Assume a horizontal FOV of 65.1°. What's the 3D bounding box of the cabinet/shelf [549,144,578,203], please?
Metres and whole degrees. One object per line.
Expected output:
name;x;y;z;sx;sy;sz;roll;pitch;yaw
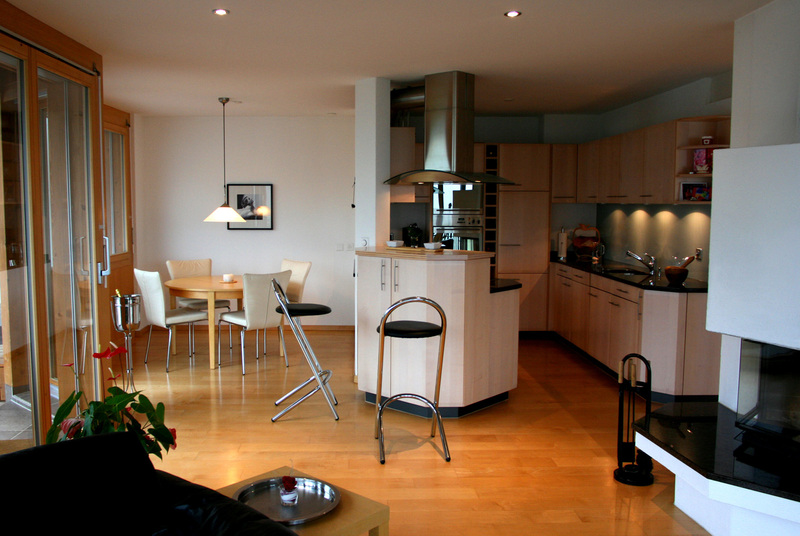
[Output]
cabinet/shelf;2.221;-1.292;8.502;0.368;0.745;0.149;2;11;11

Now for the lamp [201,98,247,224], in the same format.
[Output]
lamp;-2.325;-1.346;8.257;0.524;1.668;1.670;-3;11;-14

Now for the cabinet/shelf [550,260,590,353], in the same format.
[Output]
cabinet/shelf;2.186;0.482;7.994;0.399;0.911;1.101;-3;8;-10

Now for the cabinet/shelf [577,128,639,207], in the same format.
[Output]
cabinet/shelf;2.651;-1.192;7.925;0.221;0.807;1.665;-2;6;-5

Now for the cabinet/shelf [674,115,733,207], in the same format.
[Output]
cabinet/shelf;2.951;-1.065;6.211;0.488;0.856;0.249;5;12;23

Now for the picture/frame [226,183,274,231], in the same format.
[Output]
picture/frame;-2.115;-0.908;8.908;0.706;0.691;0.031;0;0;-2

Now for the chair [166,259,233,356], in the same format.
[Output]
chair;-2.785;0.333;8.443;0.566;0.766;0.646;-6;44;-25

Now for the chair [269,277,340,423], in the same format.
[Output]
chair;-0.931;0.798;6.116;0.823;1.304;0.845;3;6;41

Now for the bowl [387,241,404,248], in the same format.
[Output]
bowl;-0.062;-0.252;6.470;0.108;0.047;0.148;1;4;17

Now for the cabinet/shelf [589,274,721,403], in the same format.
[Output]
cabinet/shelf;2.692;0.712;6.762;0.819;0.993;1.515;4;2;-7

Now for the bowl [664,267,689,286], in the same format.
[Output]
bowl;2.719;0.079;6.150;0.193;0.133;0.186;1;-1;0

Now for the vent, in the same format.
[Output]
vent;0.476;-1.430;6.395;0.914;1.104;0.593;1;11;4

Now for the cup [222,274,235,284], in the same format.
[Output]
cup;-2.115;0.124;7.769;0.175;0.115;0.126;-3;10;-17

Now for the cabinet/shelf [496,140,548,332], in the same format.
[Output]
cabinet/shelf;1.760;-0.621;8.813;0.712;2.115;0.554;1;17;15

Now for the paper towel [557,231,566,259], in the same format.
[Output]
paper towel;2.231;-0.327;8.625;0.123;0.346;0.192;2;11;12
